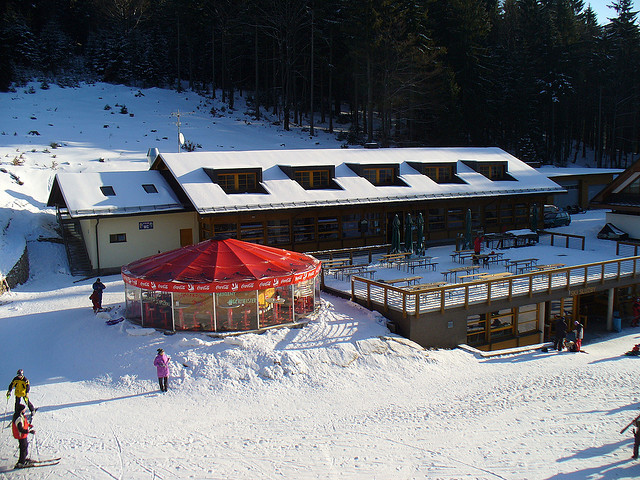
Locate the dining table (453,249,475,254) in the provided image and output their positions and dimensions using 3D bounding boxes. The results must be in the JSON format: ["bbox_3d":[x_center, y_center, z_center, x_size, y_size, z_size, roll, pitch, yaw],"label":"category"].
[{"bbox_3d":[9.104,0.742,39.920,1.358,0.257,0.642,-3,5,-27],"label":"dining table"}]

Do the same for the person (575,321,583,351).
[{"bbox_3d":[13.218,4.976,32.360,0.304,1.320,0.721,0,5,17],"label":"person"}]

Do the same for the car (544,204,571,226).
[{"bbox_3d":[18.878,-2.016,51.047,2.416,1.172,1.459,2,1,-24],"label":"car"}]

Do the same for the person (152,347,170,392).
[{"bbox_3d":[-6.724,5.507,26.995,0.593,1.779,0.654,-2,5,-14],"label":"person"}]

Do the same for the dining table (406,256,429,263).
[{"bbox_3d":[5.783,1.212,37.726,1.254,0.367,1.356,0,5,10],"label":"dining table"}]

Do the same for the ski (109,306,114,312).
[{"bbox_3d":[-10.415,3.459,31.642,0.201,0.202,0.196,1,-2,-33],"label":"ski"}]

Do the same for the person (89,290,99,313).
[{"bbox_3d":[-11.033,3.013,31.075,0.462,1.033,0.204,1,5,19],"label":"person"}]

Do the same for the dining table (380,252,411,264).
[{"bbox_3d":[4.644,1.187,38.819,1.472,0.368,0.237,-9,35,-25],"label":"dining table"}]

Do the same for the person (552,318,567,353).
[{"bbox_3d":[12.178,4.836,32.292,0.710,1.618,0.517,-4,6,-30],"label":"person"}]
